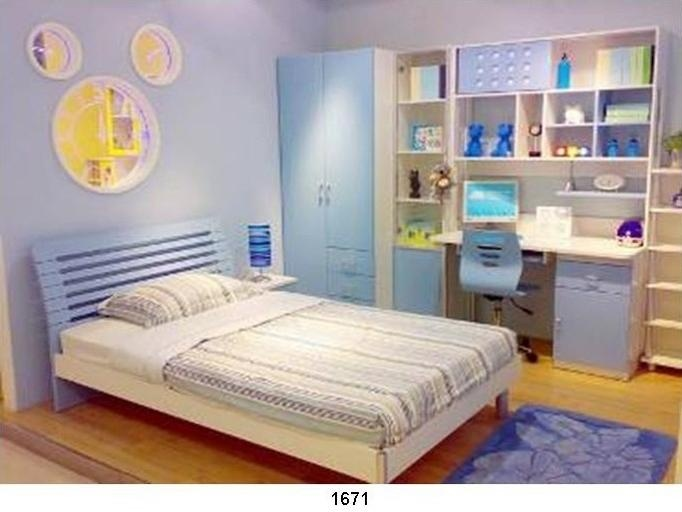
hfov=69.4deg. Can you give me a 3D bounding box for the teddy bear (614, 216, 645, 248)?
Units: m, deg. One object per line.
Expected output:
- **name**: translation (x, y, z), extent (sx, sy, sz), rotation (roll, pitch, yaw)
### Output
- **teddy bear**: translation (2.011, -0.156, 3.420), extent (0.139, 0.112, 0.224), rotation (4, 12, 39)

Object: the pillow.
- **pillow**: translation (-1.036, 0.268, 3.274), extent (0.403, 0.142, 0.629), rotation (7, 10, 33)

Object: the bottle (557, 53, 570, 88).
- **bottle**: translation (1.622, -1.345, 3.575), extent (0.092, 0.248, 0.091), rotation (-2, 15, 0)

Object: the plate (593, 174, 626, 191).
- **plate**: translation (1.942, -0.529, 3.561), extent (0.209, 0.128, 0.154), rotation (6, 16, 28)

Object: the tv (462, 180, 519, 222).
- **tv**: translation (1.210, -0.437, 3.928), extent (0.354, 0.261, 0.040), rotation (1, 2, 10)

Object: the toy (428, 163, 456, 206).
- **toy**: translation (0.831, -0.590, 4.083), extent (0.257, 0.372, 0.345), rotation (4, 11, 30)

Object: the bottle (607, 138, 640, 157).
- **bottle**: translation (1.979, -0.760, 3.445), extent (0.220, 0.124, 0.166), rotation (6, 16, 27)

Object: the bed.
- **bed**: translation (-0.475, 0.087, 2.593), extent (2.134, 0.570, 1.509), rotation (11, 19, 33)

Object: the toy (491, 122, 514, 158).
- **toy**: translation (1.252, -0.893, 3.801), extent (0.160, 0.245, 0.120), rotation (3, 15, 16)
